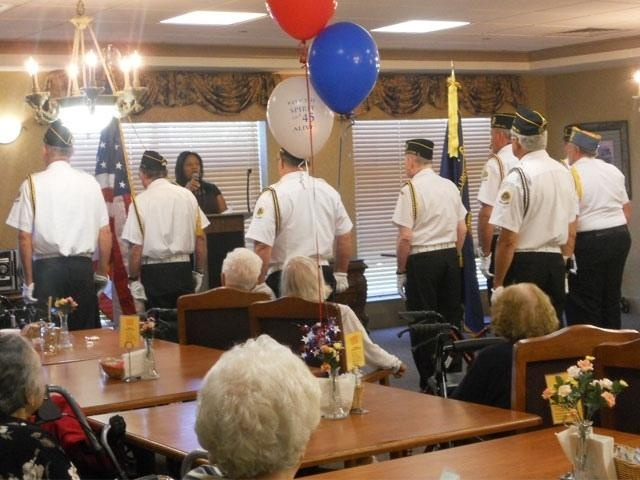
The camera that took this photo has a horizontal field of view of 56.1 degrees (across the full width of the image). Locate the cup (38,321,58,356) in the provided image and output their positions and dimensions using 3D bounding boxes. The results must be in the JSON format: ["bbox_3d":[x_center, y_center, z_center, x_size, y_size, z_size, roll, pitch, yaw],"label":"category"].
[{"bbox_3d":[-1.683,0.631,3.755,0.152,0.191,0.151,-2,-9,0],"label":"cup"}]

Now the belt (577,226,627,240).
[{"bbox_3d":[2.743,-0.065,5.782,0.496,0.138,0.139,-1,5,-5],"label":"belt"}]

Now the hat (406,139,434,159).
[{"bbox_3d":[0.899,-0.827,5.449,0.212,0.136,0.174,6,11,12],"label":"hat"}]

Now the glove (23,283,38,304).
[{"bbox_3d":[-2.413,0.438,4.963,0.147,0.151,0.155,2,-7,-9],"label":"glove"}]

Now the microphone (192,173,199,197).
[{"bbox_3d":[-1.388,-0.623,6.712,0.074,0.240,0.225,-2,5,-11],"label":"microphone"}]

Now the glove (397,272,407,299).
[{"bbox_3d":[0.747,0.418,5.509,0.073,0.224,0.164,0,-1,6],"label":"glove"}]

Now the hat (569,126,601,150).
[{"bbox_3d":[2.542,-0.964,5.882,0.306,0.194,0.240,24,14,27],"label":"hat"}]

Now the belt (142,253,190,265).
[{"bbox_3d":[-1.423,0.180,5.539,0.414,0.076,0.105,-3,5,-20],"label":"belt"}]

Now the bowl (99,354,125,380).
[{"bbox_3d":[-1.062,0.658,3.079,0.104,0.054,0.132,1,4,-26],"label":"bowl"}]

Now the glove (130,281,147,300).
[{"bbox_3d":[-1.665,0.462,5.515,0.120,0.162,0.089,-15,8,43],"label":"glove"}]

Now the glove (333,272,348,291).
[{"bbox_3d":[0.181,0.347,4.900,0.102,0.150,0.148,-6,-12,15],"label":"glove"}]

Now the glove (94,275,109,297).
[{"bbox_3d":[-1.914,0.397,5.278,0.125,0.167,0.164,2,-8,-1],"label":"glove"}]

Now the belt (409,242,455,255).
[{"bbox_3d":[1.010,0.080,5.371,0.389,0.092,0.076,-1,4,-2],"label":"belt"}]

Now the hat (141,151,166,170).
[{"bbox_3d":[-1.541,-0.729,5.564,0.199,0.096,0.147,4,-1,-34],"label":"hat"}]
